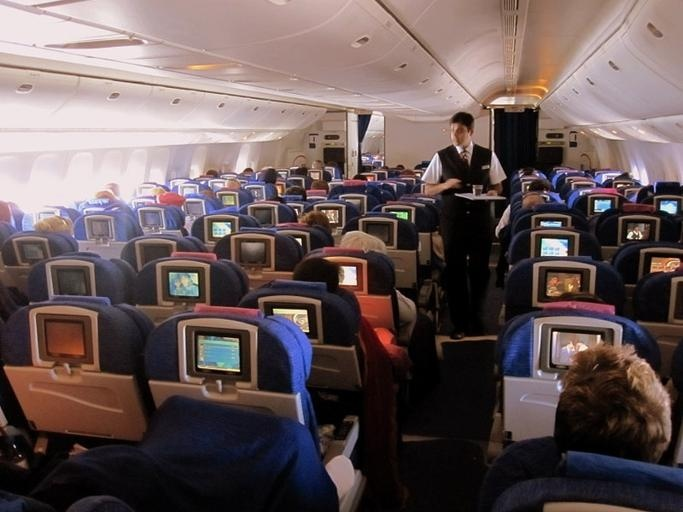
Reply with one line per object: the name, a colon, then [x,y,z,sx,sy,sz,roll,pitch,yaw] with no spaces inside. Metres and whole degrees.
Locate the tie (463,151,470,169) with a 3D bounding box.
tie: [1.264,-0.984,5.551,0.078,0.165,0.053,1,4,6]

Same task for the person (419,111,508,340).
person: [1.240,-0.288,5.585,1.035,2.298,0.754,-1,4,-1]

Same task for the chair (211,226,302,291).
chair: [-0.759,-0.029,5.213,1.013,0.668,0.511,5,14,12]

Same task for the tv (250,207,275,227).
tv: [-1.088,-0.562,7.562,0.344,0.282,0.178,5,30,6]

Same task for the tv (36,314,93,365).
tv: [-1.367,0.405,2.719,0.276,0.212,0.135,3,8,12]

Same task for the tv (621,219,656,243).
tv: [3.148,-0.275,5.763,0.277,0.206,0.143,5,9,36]

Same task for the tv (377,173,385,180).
tv: [1.203,-2.470,16.789,0.234,0.126,0.371,0,1,5]

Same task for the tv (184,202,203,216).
tv: [-2.522,-0.822,9.372,0.318,0.243,0.160,9,32,3]

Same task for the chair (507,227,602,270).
chair: [1.928,-0.113,4.982,0.645,0.521,0.491,1,5,15]

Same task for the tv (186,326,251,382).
tv: [-0.551,0.435,2.488,0.295,0.190,0.039,3,8,16]

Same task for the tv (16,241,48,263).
tv: [-3.034,-0.053,5.364,0.211,0.171,0.106,5,25,-7]

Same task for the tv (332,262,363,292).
tv: [0.045,0.141,3.990,0.259,0.213,0.129,2,3,-5]

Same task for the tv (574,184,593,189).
tv: [4.794,-1.401,10.816,0.371,0.109,0.564,2,4,22]

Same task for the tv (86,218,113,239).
tv: [-2.992,-0.358,6.778,0.259,0.196,0.125,4,12,10]

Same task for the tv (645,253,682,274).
tv: [2.490,0.049,4.214,0.187,0.087,0.170,8,-21,15]

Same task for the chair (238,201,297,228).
chair: [-1.035,-0.612,7.767,0.648,0.544,0.488,3,11,6]

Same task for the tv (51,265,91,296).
tv: [-2.155,0.184,4.360,0.241,0.180,0.115,5,16,-2]

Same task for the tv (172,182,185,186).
tv: [-3.804,-1.700,12.774,0.270,0.069,0.280,-1,3,-4]

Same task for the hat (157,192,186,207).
hat: [-2.846,-0.946,9.138,0.402,0.158,0.471,1,4,1]

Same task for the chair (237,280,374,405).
chair: [-0.199,0.484,3.506,0.723,0.625,0.679,4,8,14]

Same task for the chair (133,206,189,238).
chair: [-2.584,-0.527,7.894,0.628,0.439,0.584,6,6,22]

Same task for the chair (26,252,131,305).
chair: [-2.148,0.184,4.587,0.656,0.353,0.583,1,14,-4]

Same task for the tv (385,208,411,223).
tv: [0.744,-0.538,6.937,0.422,0.198,0.335,1,10,-3]

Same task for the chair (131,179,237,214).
chair: [-2.973,-1.125,10.282,1.323,0.468,0.411,7,20,17]

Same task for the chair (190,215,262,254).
chair: [-1.504,-0.346,6.648,0.581,0.377,0.544,4,14,4]

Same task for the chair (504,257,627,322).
chair: [1.625,0.092,4.020,0.720,0.619,0.582,1,6,22]

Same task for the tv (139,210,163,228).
tv: [-2.710,-0.543,7.802,0.291,0.226,0.151,3,19,6]

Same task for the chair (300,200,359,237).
chair: [-0.101,-0.590,7.588,0.641,0.548,0.555,5,13,9]

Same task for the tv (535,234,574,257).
tv: [1.937,-0.104,4.929,0.193,0.164,0.102,9,17,26]

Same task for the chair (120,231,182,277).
chair: [-1.833,-0.105,5.332,0.518,0.446,0.449,1,26,6]

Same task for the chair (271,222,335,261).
chair: [-0.351,-0.200,5.578,0.634,0.543,0.309,5,23,13]

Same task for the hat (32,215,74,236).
hat: [-3.088,-0.335,5.932,0.341,0.154,0.436,-5,9,-44]

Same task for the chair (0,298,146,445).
chair: [-1.320,0.565,3.147,0.806,0.722,0.867,3,5,5]

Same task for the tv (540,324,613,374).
tv: [1.025,0.388,2.375,0.321,0.205,0.169,3,10,25]
